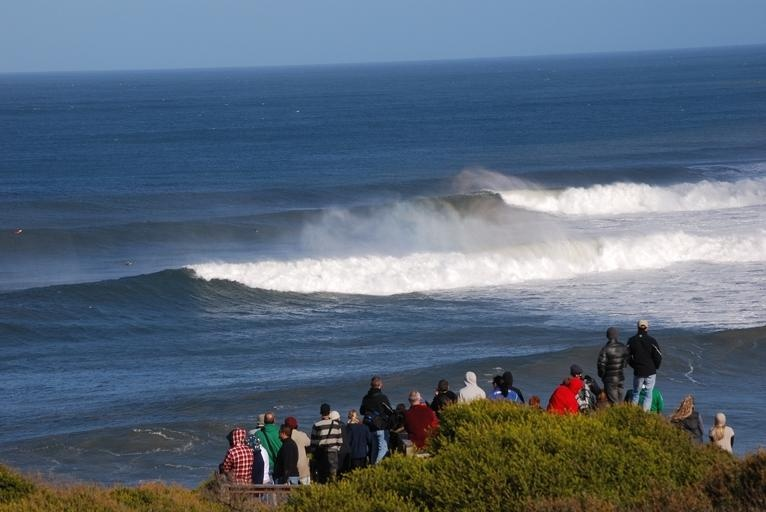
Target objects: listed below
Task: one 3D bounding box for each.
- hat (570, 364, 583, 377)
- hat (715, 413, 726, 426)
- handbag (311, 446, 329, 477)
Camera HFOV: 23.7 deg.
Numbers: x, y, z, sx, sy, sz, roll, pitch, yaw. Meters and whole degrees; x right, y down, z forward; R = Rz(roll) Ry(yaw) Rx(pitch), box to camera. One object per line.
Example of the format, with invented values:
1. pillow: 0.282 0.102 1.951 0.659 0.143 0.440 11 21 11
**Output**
1. hat: 11.918 6.980 113.749 0.825 0.681 0.658 -1 10 23
2. hat: 20.824 10.083 113.581 0.791 0.755 1.027 0 5 10
3. handbag: -3.900 12.830 112.660 1.231 2.055 0.494 -10 -10 33
